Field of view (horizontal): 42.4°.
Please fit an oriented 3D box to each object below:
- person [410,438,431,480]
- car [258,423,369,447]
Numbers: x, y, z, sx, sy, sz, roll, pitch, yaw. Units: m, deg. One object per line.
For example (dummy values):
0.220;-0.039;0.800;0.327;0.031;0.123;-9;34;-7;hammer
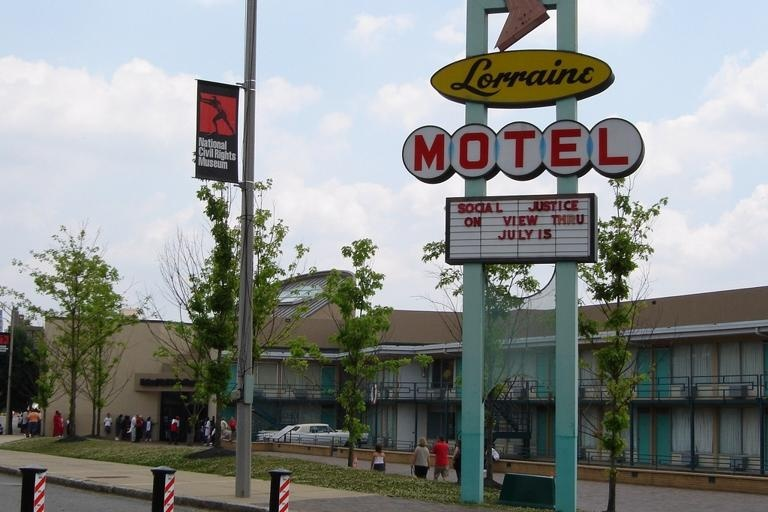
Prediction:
1.448;7.843;38.673;0.531;1.461;0.826;1;-12;-1;person
-4.665;10.298;57.312;5.288;1.423;3.413;-1;-13;5;car
